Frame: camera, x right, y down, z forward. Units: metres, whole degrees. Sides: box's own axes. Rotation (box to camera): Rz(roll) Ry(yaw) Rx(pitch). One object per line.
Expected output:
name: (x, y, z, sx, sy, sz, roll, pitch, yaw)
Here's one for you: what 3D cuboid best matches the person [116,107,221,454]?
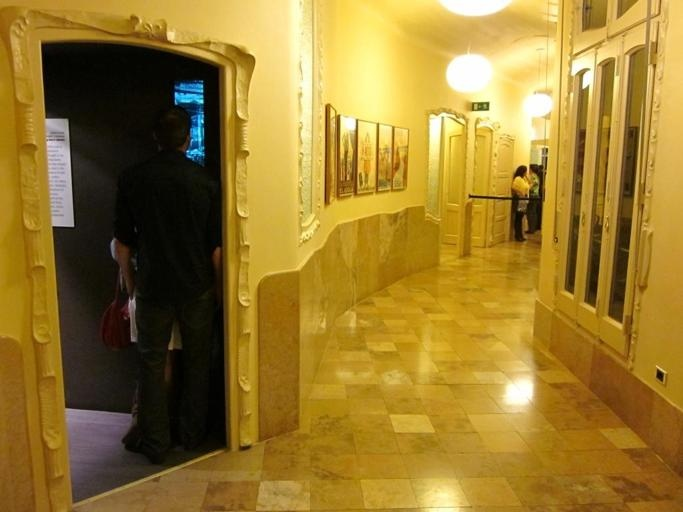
person: (-1.227, 0.198, 3.907, 0.739, 2.476, 0.478, -3, 11, -18)
